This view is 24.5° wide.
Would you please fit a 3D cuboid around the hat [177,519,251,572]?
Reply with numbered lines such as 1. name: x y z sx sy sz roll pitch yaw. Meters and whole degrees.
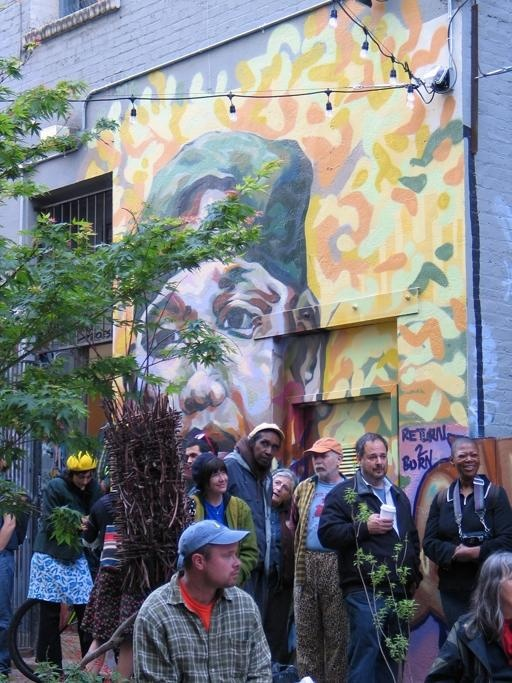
1. hat: -0.202 0.965 5.601 0.319 0.220 0.190 1 -9 -1

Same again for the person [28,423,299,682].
1. person: -0.572 1.366 8.018 1.123 1.354 1.420 2 -9 -7

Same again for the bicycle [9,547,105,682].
1. bicycle: -1.680 2.241 9.725 1.059 0.931 0.219 -13 -5 36

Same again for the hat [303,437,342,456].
1. hat: 0.533 0.795 8.837 0.218 0.094 0.147 12 -17 -38

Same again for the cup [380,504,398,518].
1. cup: 0.890 1.143 7.936 0.100 0.080 0.100 10 -10 2
